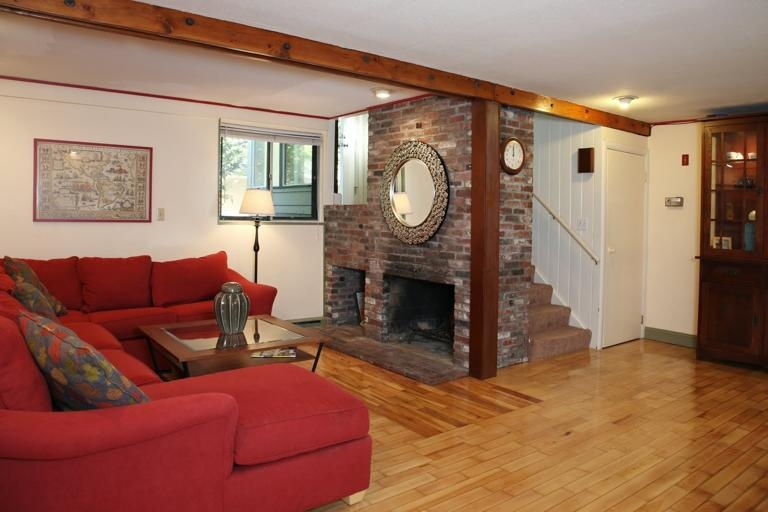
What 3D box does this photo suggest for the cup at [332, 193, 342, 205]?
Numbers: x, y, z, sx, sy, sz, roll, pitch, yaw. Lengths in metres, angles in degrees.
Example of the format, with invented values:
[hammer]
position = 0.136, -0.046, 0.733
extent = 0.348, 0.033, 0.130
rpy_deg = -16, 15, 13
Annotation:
[cup]
position = -0.652, -0.774, 7.183
extent = 0.108, 0.174, 0.200
rpy_deg = 5, -6, -43

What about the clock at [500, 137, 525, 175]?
[clock]
position = 1.371, -1.039, 5.491
extent = 0.423, 0.378, 0.096
rpy_deg = -9, 17, -41

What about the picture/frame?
[picture/frame]
position = -3.219, -0.824, 5.666
extent = 1.105, 0.762, 0.049
rpy_deg = -2, 5, -31

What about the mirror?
[mirror]
position = 0.360, -0.698, 5.809
extent = 0.087, 1.288, 1.356
rpy_deg = 0, -1, -38
